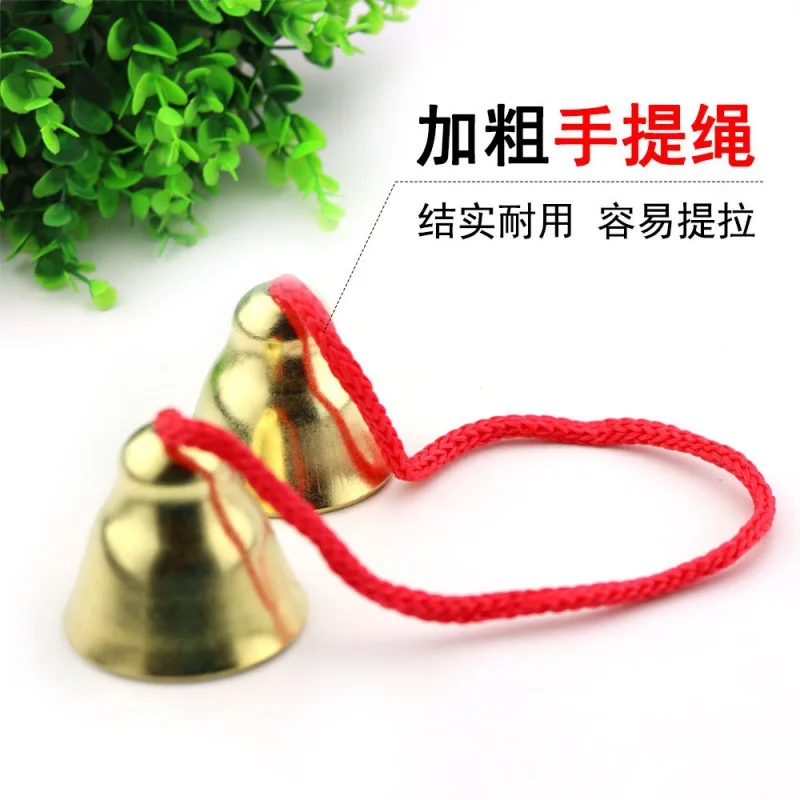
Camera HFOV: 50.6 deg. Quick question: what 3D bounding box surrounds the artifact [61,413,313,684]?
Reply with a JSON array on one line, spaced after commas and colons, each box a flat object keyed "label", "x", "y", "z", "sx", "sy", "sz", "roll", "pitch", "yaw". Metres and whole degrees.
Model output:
[{"label": "artifact", "x": -0.154, "y": 0.103, "z": 0.595, "sx": 0.172, "sy": 0.172, "sz": 0.087, "roll": -5, "pitch": 11, "yaw": -15}]

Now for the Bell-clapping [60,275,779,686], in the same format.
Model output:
[{"label": "Bell-clapping", "x": 0.006, "y": 0.031, "z": 0.690, "sx": 0.557, "sy": 0.140, "sz": 0.385, "roll": -16, "pitch": 39, "yaw": -19}]

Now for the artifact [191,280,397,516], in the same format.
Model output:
[{"label": "artifact", "x": -0.099, "y": 0.005, "z": 0.837, "sx": 0.226, "sy": 0.196, "sz": 0.188, "roll": -4, "pitch": 46, "yaw": -11}]
